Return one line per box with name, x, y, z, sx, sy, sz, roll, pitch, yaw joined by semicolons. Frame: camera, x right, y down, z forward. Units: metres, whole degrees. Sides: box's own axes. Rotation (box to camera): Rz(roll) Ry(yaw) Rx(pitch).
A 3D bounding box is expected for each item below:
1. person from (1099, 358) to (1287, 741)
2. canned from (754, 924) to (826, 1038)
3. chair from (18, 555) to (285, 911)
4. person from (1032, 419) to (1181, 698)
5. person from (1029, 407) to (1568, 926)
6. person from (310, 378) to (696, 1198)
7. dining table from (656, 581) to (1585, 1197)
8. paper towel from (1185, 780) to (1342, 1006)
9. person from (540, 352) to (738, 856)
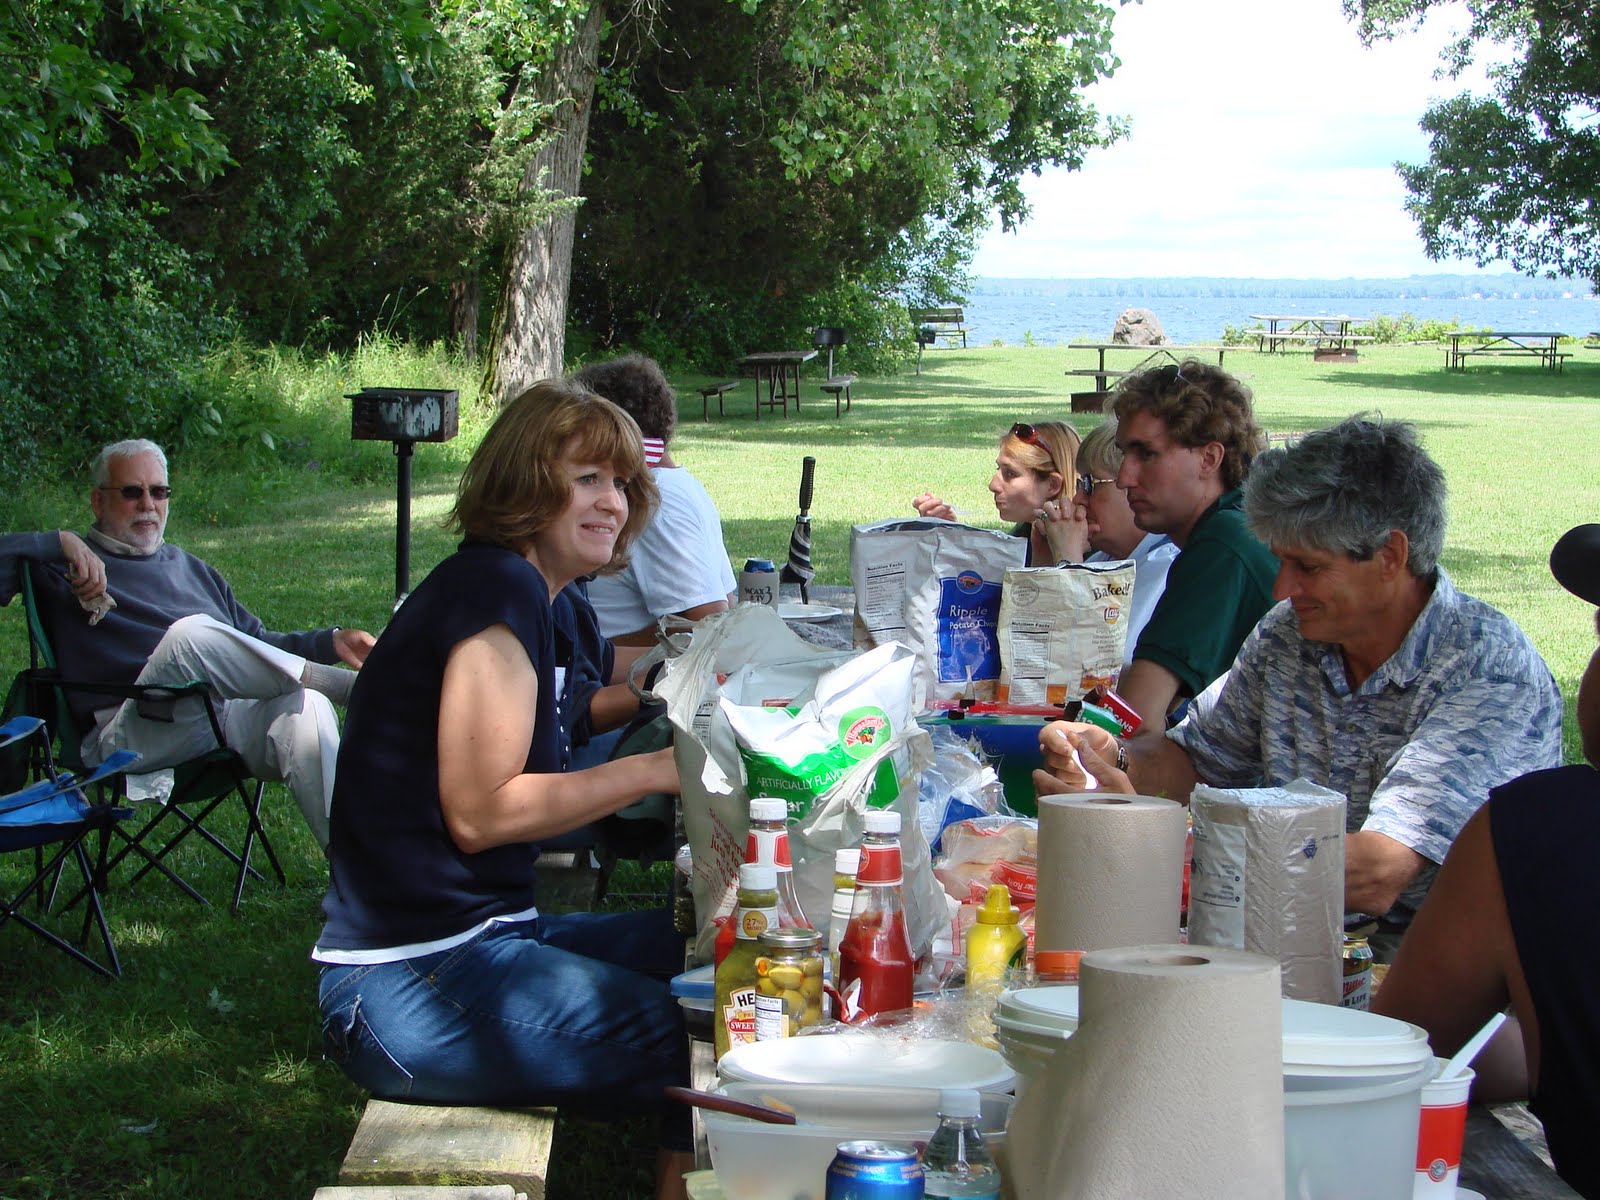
person;1.126;0.015;4.591;0.530;1.397;0.695;2;-3;25
canned;-0.017;0.571;2.341;0.129;0.198;0.130;3;-8;-34
chair;-2.352;0.335;6.155;0.914;1.582;0.750;1;2;22
person;1.048;-0.054;5.346;0.529;1.039;0.490;9;-2;-24
person;1.183;0.131;3.381;0.957;1.326;0.904;3;14;-18
person;-0.613;0.342;3.210;0.746;1.490;0.916;-1;12;-15
dining table;0.353;0.479;2.853;1.087;0.298;1.199;1;7;2
paper towel;0.772;0.487;2.628;0.215;0.350;0.236;-9;9;-40
person;-0.537;0.015;5.367;0.589;1.513;0.704;-1;15;-9
